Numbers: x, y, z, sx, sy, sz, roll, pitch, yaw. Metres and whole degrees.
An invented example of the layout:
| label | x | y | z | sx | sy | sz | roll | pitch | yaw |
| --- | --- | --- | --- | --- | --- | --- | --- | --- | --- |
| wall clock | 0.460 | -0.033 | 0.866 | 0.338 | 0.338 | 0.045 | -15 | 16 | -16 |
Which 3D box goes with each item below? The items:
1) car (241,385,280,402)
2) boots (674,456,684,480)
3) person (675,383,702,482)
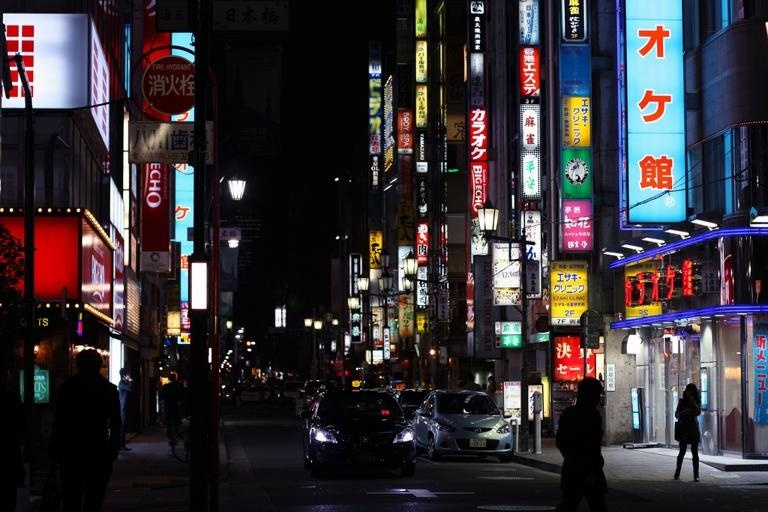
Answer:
| label | x | y | z | sx | sy | sz | roll | pitch | yaw |
| --- | --- | --- | --- | --- | --- | --- | --- | --- | --- |
| car | -8.554 | 9.641 | 88.956 | 2.554 | 0.856 | 1.176 | 7 | -5 | -9 |
| boots | 7.631 | 5.469 | 33.193 | 0.229 | 0.587 | 1.122 | -2 | -9 | 12 |
| person | 7.845 | 4.471 | 33.039 | 0.710 | 2.536 | 0.816 | 6 | -16 | -2 |
